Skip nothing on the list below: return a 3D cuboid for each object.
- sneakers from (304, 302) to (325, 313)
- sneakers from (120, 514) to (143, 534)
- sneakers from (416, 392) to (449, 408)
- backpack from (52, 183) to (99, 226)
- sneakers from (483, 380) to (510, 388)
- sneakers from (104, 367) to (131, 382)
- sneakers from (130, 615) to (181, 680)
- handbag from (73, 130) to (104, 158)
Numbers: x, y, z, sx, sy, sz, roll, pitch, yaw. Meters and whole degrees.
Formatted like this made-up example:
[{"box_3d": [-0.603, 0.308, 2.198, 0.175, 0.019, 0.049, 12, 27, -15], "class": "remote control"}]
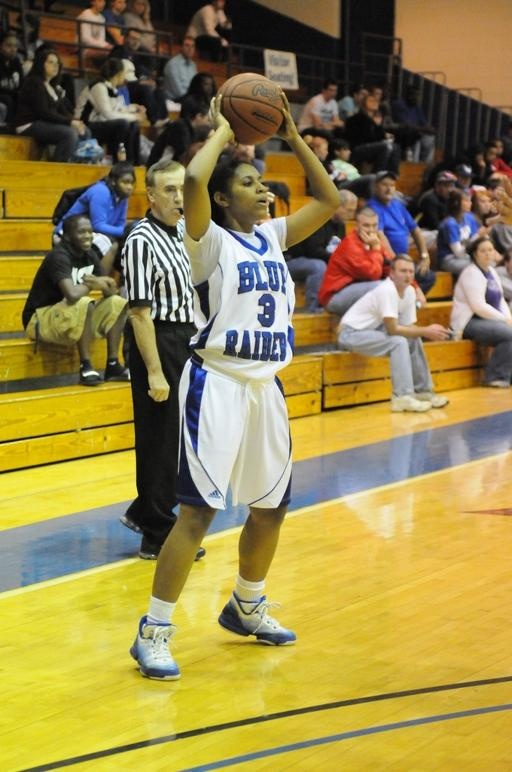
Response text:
[{"box_3d": [0.580, -0.813, 6.565, 0.154, 0.197, 0.117, 8, 11, 31], "class": "sneakers"}, {"box_3d": [-0.499, 0.551, 2.573, 0.049, 0.072, 0.146, -8, 12, -40], "class": "sneakers"}, {"box_3d": [1.539, 0.127, 5.760, 0.358, 0.143, 0.118, 1, 12, 3], "class": "sneakers"}, {"box_3d": [-1.561, -1.520, 5.438, 0.307, 0.332, 0.210, -3, 10, -17], "class": "backpack"}, {"box_3d": [2.527, -0.016, 6.768, 0.108, 0.048, 0.140, 6, -6, -21], "class": "sneakers"}, {"box_3d": [-0.968, -0.085, 4.439, 0.173, 0.101, 0.161, -1, 9, -10], "class": "sneakers"}, {"box_3d": [-0.236, 0.627, 1.537, 0.084, 0.129, 0.103, -3, 10, -17], "class": "sneakers"}, {"box_3d": [-1.760, -2.484, 6.712, 0.217, 0.318, 0.126, -12, -20, -5], "class": "handbag"}]
